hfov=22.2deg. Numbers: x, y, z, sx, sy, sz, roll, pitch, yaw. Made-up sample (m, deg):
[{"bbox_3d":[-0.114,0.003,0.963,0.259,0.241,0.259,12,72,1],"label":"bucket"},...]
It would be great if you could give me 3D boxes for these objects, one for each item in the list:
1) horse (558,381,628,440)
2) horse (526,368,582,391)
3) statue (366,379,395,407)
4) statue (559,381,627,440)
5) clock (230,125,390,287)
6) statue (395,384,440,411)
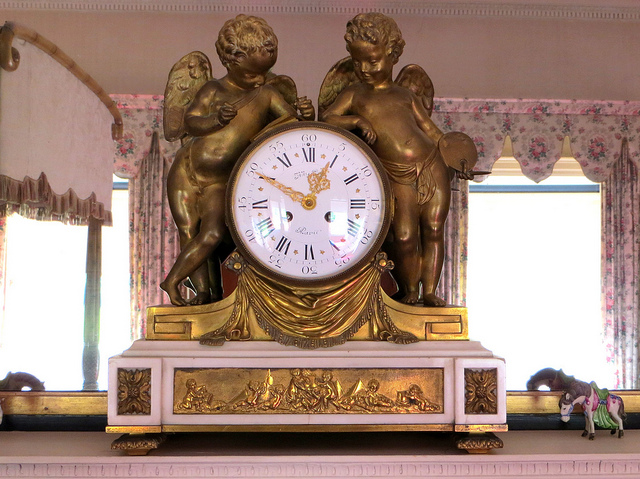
[{"bbox_3d":[1.399,0.891,8.389,0.372,0.286,0.097,-1,1,-16],"label":"horse"},{"bbox_3d":[1.207,0.748,8.552,0.321,0.155,0.103,-9,-21,36],"label":"horse"},{"bbox_3d":[0.282,0.792,8.170,0.113,0.170,0.035,-7,-42,0],"label":"statue"},{"bbox_3d":[1.405,0.896,8.382,0.368,0.282,0.121,-1,1,-13],"label":"statue"},{"bbox_3d":[-0.057,-0.156,8.169,0.815,0.785,0.121,3,-4,-1],"label":"clock"},{"bbox_3d":[0.488,0.802,8.155,0.181,0.069,0.121,7,1,8],"label":"statue"}]
